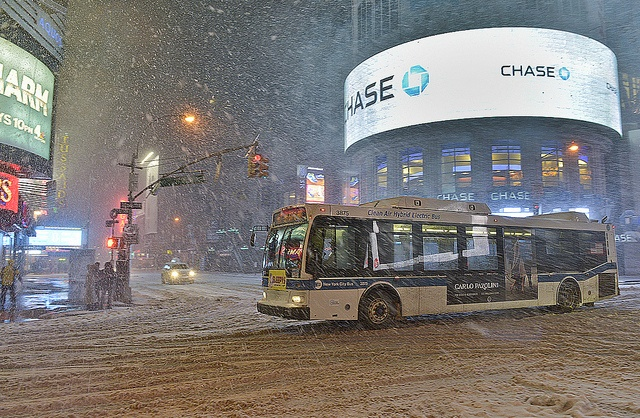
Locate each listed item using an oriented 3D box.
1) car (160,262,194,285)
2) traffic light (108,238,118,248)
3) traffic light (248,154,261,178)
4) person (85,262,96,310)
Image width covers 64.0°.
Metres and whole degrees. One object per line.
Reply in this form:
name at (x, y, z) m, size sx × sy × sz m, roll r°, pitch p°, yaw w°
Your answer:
car at (-12.365, 5.509, 44.191) m, size 1.872 × 1.234 × 2.822 m, roll 5°, pitch -14°, yaw -30°
traffic light at (-11.253, 1.809, 27.918) m, size 0.546 × 0.617 × 0.821 m, roll -1°, pitch 2°, yaw -18°
traffic light at (-3.433, -2.315, 27.160) m, size 0.624 × 1.177 × 0.969 m, roll -2°, pitch 2°, yaw -21°
person at (-10.939, 3.700, 24.505) m, size 0.488 × 2.085 × 0.584 m, roll -1°, pitch 2°, yaw -10°
